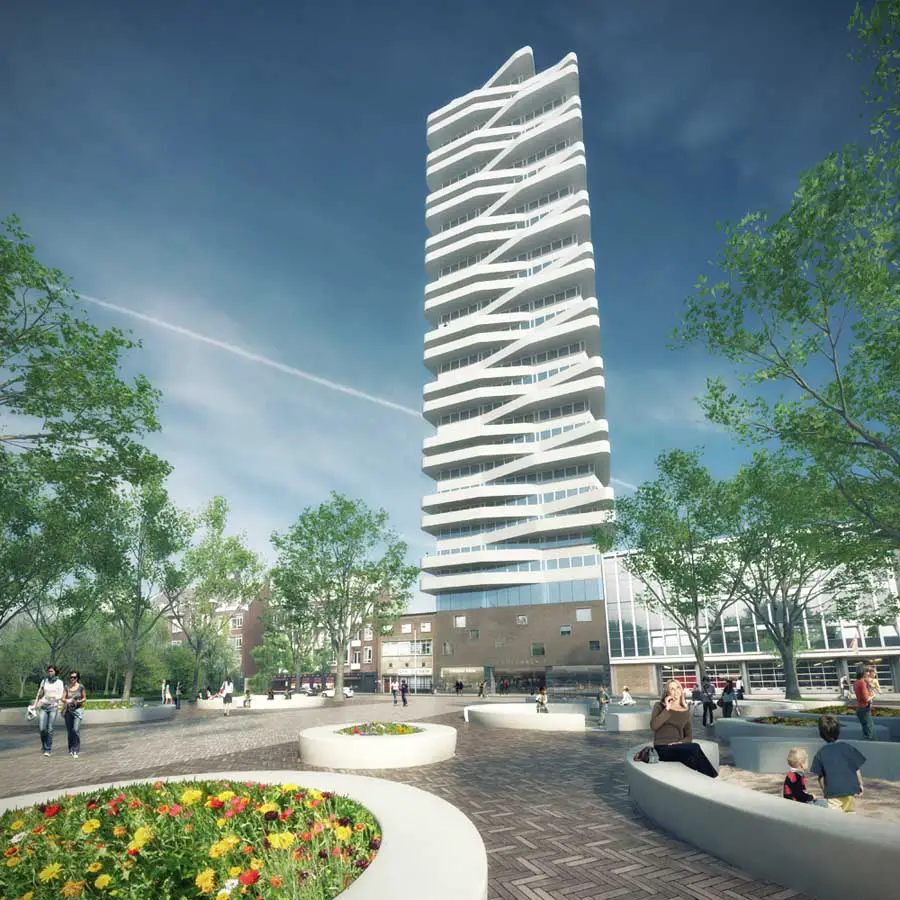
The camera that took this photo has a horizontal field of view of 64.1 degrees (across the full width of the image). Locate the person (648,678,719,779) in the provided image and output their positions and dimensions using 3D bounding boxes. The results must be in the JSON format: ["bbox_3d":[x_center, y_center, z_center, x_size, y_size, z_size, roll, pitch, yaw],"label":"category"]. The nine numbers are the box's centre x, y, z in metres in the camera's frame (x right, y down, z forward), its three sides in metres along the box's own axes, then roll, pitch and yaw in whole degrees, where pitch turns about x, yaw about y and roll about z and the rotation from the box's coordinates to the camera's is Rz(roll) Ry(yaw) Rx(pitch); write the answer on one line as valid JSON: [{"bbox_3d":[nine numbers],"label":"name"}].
[{"bbox_3d":[3.181,3.928,9.840,0.672,1.530,0.885,7,-12,-33],"label":"person"}]

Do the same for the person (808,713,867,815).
[{"bbox_3d":[4.315,3.625,8.039,0.579,1.295,0.348,-11,3,5],"label":"person"}]

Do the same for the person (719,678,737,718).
[{"bbox_3d":[9.108,8.183,23.725,0.509,1.166,2.164,-7,-15,18],"label":"person"}]
